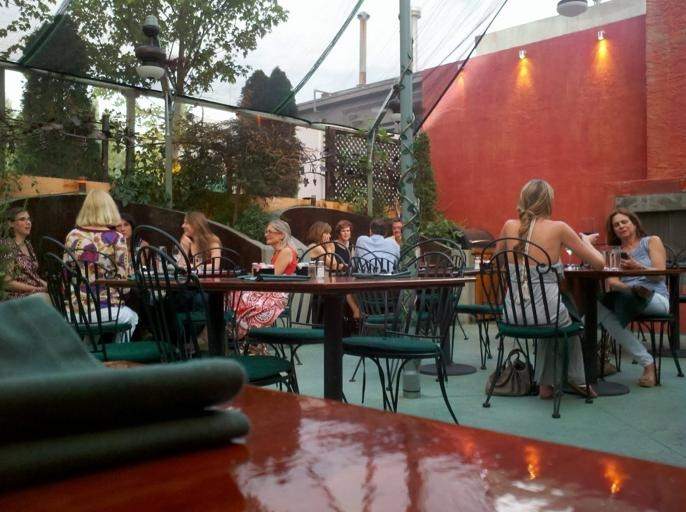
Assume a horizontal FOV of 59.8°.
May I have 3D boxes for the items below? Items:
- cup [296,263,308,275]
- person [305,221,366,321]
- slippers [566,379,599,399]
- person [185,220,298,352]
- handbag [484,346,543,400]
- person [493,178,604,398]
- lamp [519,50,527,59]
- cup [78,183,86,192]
[{"bbox_3d":[-0.187,0.064,2.647,0.044,0.066,0.051,2,-4,-17],"label":"cup"},{"bbox_3d":[-0.107,0.212,5.656,0.542,0.984,0.577,-1,0,15],"label":"person"},{"bbox_3d":[1.417,0.765,3.530,0.224,0.106,0.078,2,0,44],"label":"slippers"},{"bbox_3d":[-0.550,0.194,3.892,0.448,0.881,0.292,9,-3,-24],"label":"person"},{"bbox_3d":[1.072,0.741,3.803,0.228,0.290,0.422,7,-4,19],"label":"handbag"},{"bbox_3d":[1.246,0.231,3.628,0.701,1.370,0.708,-5,7,-45],"label":"person"},{"bbox_3d":[2.673,-2.953,8.867,0.070,0.154,0.029,6,10,36],"label":"lamp"},{"bbox_3d":[-2.846,-0.731,6.489,0.089,0.105,0.089,1,-4,0],"label":"cup"}]
